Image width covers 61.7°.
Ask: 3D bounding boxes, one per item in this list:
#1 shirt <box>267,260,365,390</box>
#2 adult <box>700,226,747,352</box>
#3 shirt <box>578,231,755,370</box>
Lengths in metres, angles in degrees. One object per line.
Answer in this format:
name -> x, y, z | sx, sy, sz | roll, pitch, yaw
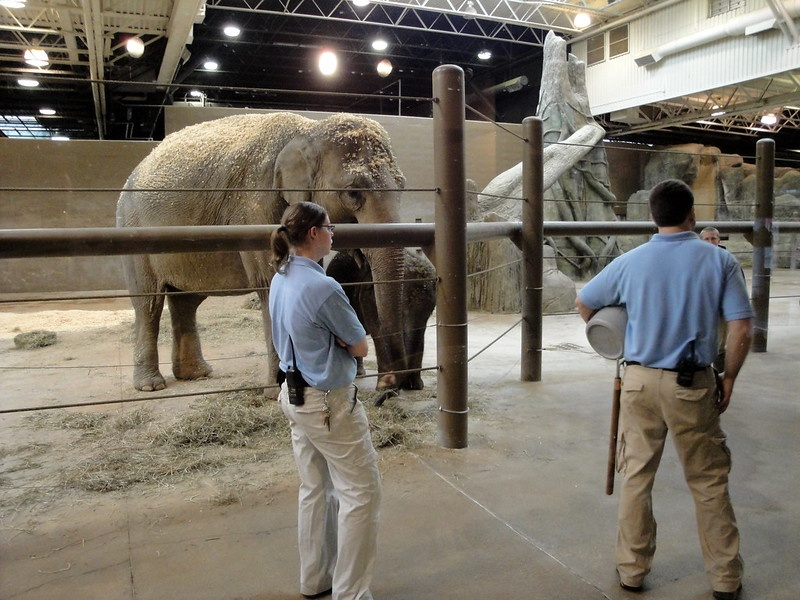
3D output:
shirt -> -0.430, 0.106, 3.386 | 0.487, 0.665, 0.226 | -1, 8, 2
adult -> 3.023, -0.115, 6.555 | 0.370, 1.365, 0.398 | -6, 11, 1
shirt -> 1.438, -0.016, 3.668 | 0.884, 0.730, 0.328 | 2, 9, 29
